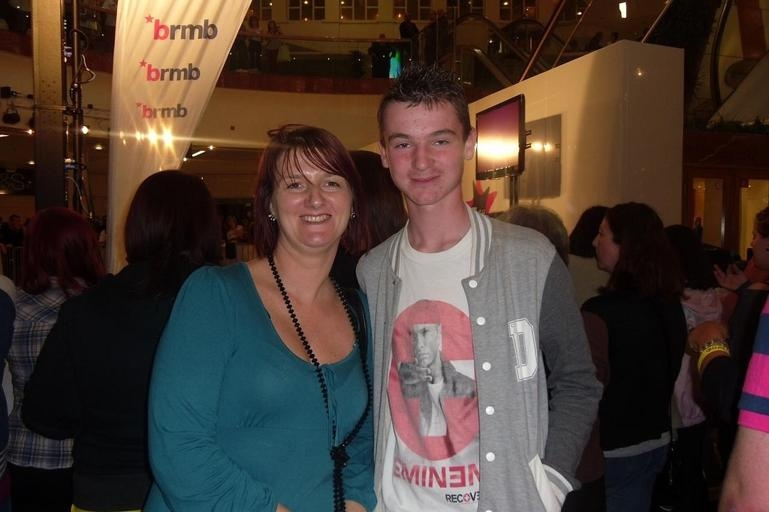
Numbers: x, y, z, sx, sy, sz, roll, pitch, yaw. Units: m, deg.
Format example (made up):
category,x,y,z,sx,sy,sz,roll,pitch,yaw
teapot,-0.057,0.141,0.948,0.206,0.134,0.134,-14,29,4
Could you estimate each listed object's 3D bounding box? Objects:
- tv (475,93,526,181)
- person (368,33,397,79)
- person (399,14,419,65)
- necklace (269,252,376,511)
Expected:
category,x,y,z,sx,sy,sz,roll,pitch,yaw
tv,1.332,-1.308,7.439,0.140,0.829,1.030,-3,4,-21
person,-0.043,-4.508,14.647,0.783,0.895,0.279,1,0,41
person,0.671,-5.427,16.450,0.409,1.610,0.447,-7,-11,8
necklace,-0.341,0.575,3.394,0.417,1.463,0.101,-9,-10,-35
